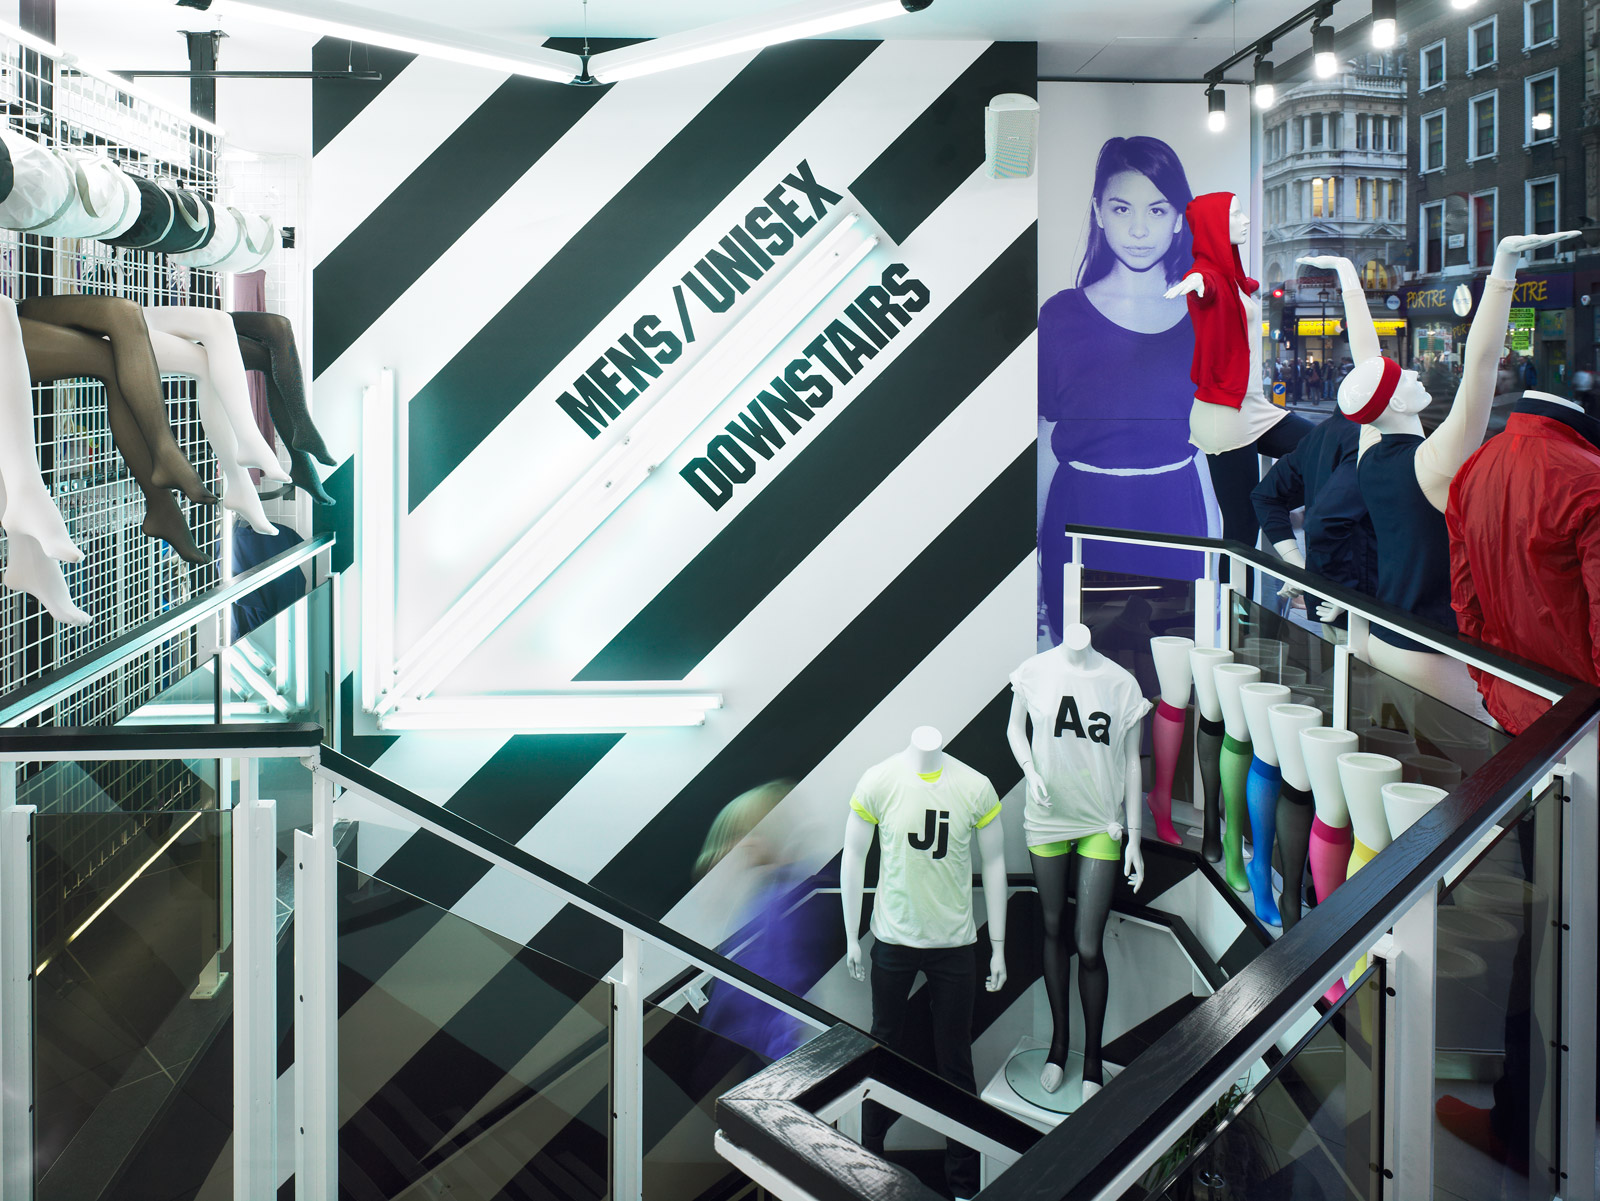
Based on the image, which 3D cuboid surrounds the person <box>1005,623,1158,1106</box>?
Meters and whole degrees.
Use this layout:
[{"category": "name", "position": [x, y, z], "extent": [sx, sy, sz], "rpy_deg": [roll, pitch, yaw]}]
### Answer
[{"category": "person", "position": [1.082, 1.099, 6.306], "extent": [0.526, 2.034, 0.292], "rpy_deg": [3, 11, 10]}]

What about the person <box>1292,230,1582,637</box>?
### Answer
[{"category": "person", "position": [2.183, -0.580, 5.324], "extent": [0.365, 1.640, 1.087], "rpy_deg": [-10, 16, -16]}]

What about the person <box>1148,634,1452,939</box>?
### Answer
[{"category": "person", "position": [1.737, 0.654, 5.519], "extent": [0.261, 1.170, 1.116], "rpy_deg": [-4, 11, -14]}]
